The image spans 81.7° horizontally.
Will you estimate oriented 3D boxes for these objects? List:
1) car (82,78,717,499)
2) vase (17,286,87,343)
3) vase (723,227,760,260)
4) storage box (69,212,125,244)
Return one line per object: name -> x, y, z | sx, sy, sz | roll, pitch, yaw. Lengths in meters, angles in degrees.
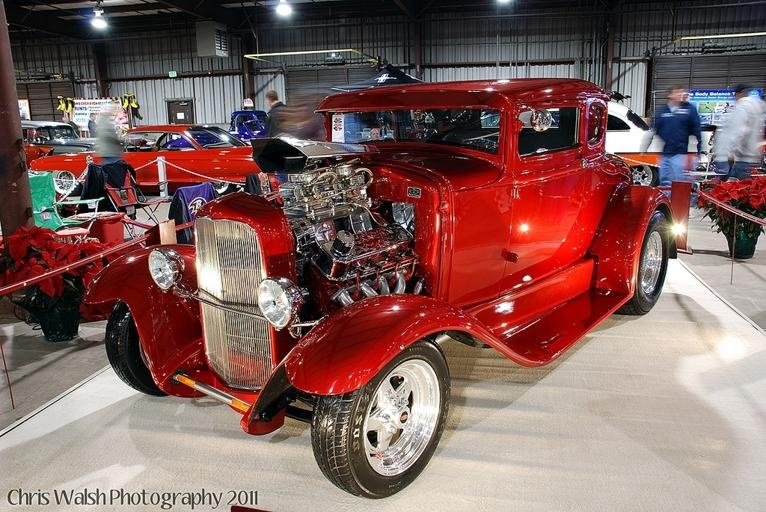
car -> 0.695, -0.140, 4.090 | 4.559, 1.867, 2.562 | -13, 13, -43
vase -> -3.156, 0.524, 4.219 | 0.430, 0.560, 0.522 | -2, 1, -17
vase -> 4.860, -0.190, 6.043 | 0.464, 0.349, 0.434 | -8, 9, -36
storage box -> -3.736, -0.364, 5.821 | 0.735, 0.471, 0.495 | 0, 9, 2
